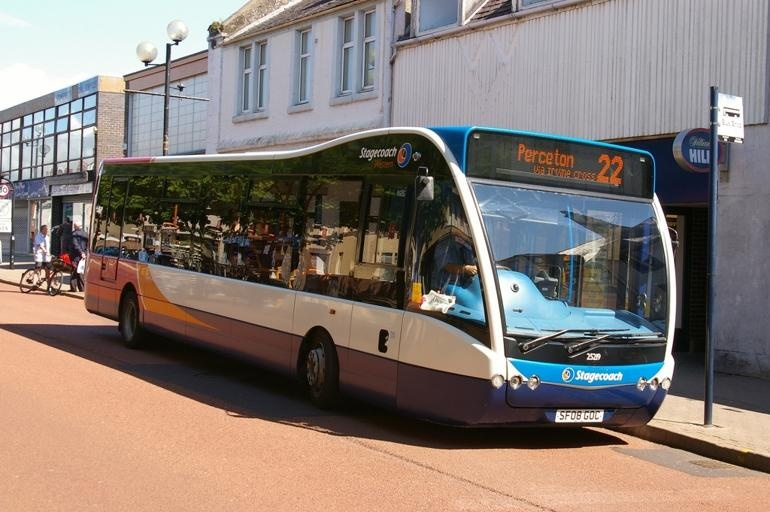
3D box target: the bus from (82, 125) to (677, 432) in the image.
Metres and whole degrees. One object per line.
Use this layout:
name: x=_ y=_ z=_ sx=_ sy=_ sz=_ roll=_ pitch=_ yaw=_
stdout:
bus: x=-1.746 y=0.055 z=11.989 sx=4.064 sy=3.868 sz=12.154 roll=2 pitch=0 yaw=-35
